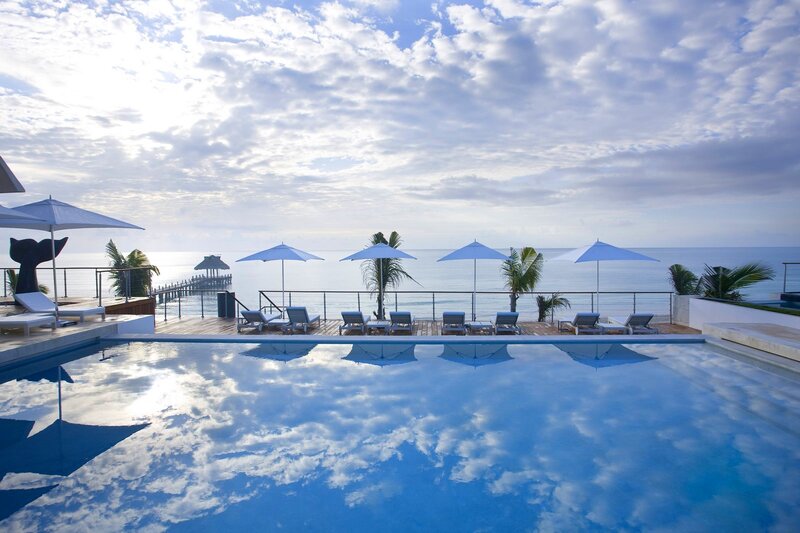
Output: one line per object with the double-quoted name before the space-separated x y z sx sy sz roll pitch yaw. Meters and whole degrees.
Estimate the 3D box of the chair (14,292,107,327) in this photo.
"chair" -8.727 1.093 11.861 2.157 0.588 0.962 0 1 -2

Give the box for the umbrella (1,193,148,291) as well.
"umbrella" -8.584 -0.671 11.971 3.426 1.595 2.843 0 0 -16

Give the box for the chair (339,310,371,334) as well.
"chair" -1.356 1.651 13.591 0.828 0.624 0.775 -1 0 -4

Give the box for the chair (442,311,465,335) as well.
"chair" 1.588 1.652 13.460 0.718 0.603 0.518 -1 0 6

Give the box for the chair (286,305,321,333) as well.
"chair" -2.951 1.596 14.164 0.737 0.516 1.115 0 2 6

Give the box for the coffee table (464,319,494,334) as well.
"coffee table" 2.376 1.813 13.643 0.835 0.338 0.610 -1 0 6

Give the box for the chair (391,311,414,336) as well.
"chair" 0.033 1.678 13.589 0.708 0.619 0.697 -1 0 4

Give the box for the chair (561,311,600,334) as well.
"chair" 5.388 1.666 13.650 0.754 0.329 1.137 0 -1 7

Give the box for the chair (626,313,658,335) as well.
"chair" 6.899 1.643 13.180 0.583 0.435 0.874 1 9 11

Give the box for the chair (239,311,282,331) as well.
"chair" -4.183 1.652 13.992 0.792 0.375 1.193 1 1 9

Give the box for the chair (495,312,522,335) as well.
"chair" 3.117 1.639 13.396 0.755 0.566 0.418 -1 0 6

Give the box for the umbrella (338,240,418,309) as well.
"umbrella" -0.633 0.423 15.490 1.730 2.214 3.212 -1 0 0
